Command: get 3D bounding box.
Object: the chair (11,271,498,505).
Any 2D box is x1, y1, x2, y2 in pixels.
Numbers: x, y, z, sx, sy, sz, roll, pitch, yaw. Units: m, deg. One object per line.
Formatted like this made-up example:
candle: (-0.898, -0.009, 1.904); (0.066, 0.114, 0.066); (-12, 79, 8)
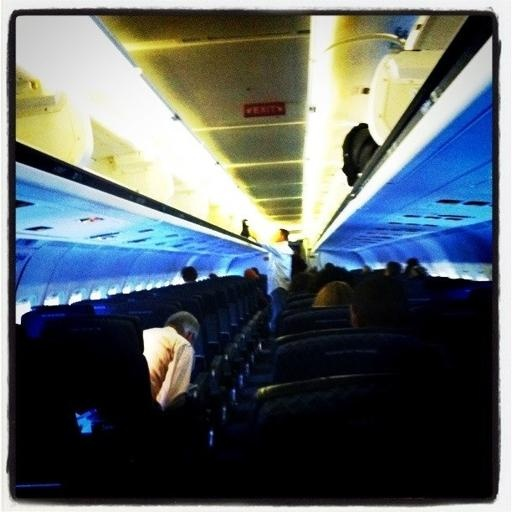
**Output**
chair: (0.065, 0.726, 2.488); (2.637, 1.228, 1.302); (-1, 5, -1)
